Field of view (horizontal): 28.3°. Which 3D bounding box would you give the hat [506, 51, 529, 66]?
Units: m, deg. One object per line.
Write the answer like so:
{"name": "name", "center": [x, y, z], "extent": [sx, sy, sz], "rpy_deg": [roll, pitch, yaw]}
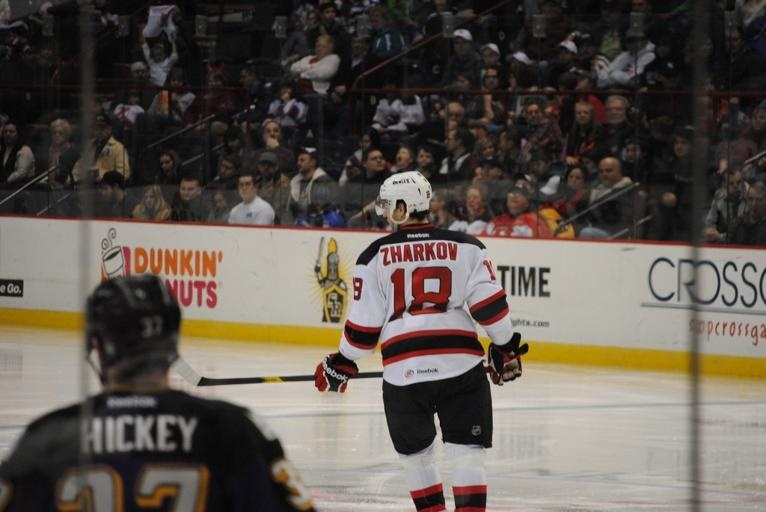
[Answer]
{"name": "hat", "center": [1.525, -2.219, 17.112], "extent": [0.192, 0.072, 0.132], "rpy_deg": [21, -18, -23]}

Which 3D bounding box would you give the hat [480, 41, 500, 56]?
{"name": "hat", "center": [1.202, -2.341, 17.196], "extent": [0.138, 0.185, 0.190], "rpy_deg": [-6, -8, 15]}

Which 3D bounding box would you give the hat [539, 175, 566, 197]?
{"name": "hat", "center": [1.822, -0.757, 16.682], "extent": [0.227, 0.222, 0.063], "rpy_deg": [0, 2, 23]}

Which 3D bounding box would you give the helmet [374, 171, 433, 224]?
{"name": "helmet", "center": [0.170, -0.475, 12.546], "extent": [0.470, 0.438, 0.356], "rpy_deg": [4, -1, 20]}

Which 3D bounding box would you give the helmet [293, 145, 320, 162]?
{"name": "helmet", "center": [-0.881, -1.165, 17.563], "extent": [0.209, 0.189, 0.170], "rpy_deg": [-22, -7, 28]}
